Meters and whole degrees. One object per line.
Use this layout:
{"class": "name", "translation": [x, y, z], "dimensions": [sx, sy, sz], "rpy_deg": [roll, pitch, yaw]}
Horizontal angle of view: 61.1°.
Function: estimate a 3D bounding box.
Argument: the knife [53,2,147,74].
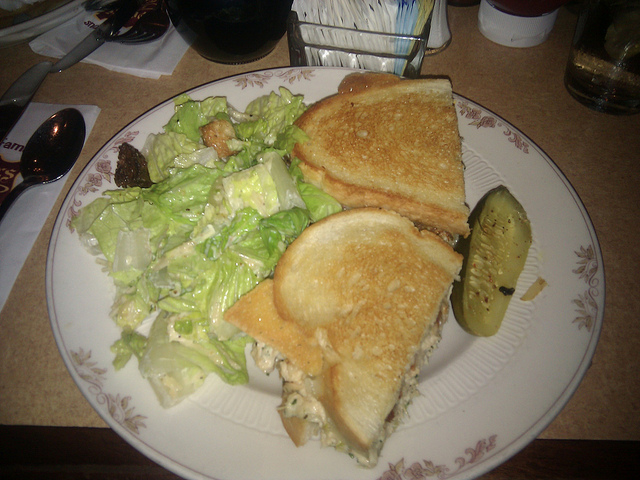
{"class": "knife", "translation": [-1.213, -1.110, 2.996], "dimensions": [0.645, 0.027, 0.090], "rpy_deg": [-42, 103, -13]}
